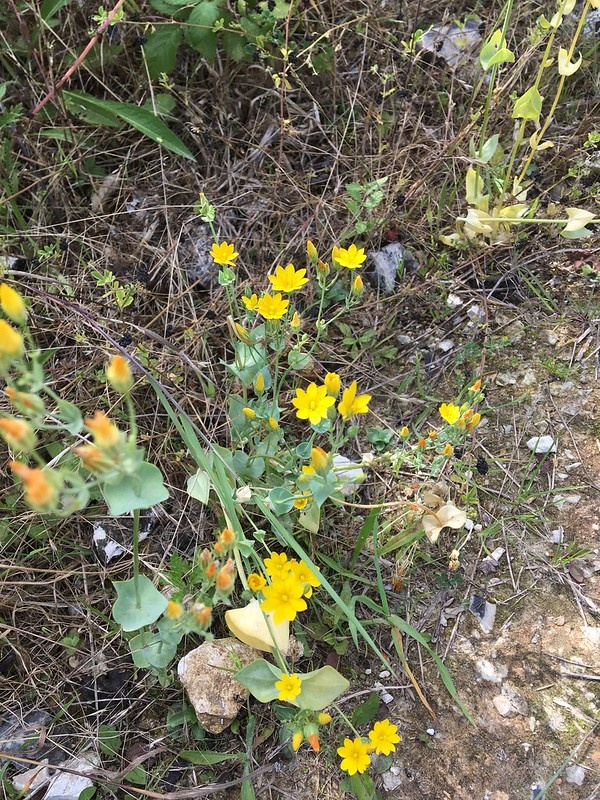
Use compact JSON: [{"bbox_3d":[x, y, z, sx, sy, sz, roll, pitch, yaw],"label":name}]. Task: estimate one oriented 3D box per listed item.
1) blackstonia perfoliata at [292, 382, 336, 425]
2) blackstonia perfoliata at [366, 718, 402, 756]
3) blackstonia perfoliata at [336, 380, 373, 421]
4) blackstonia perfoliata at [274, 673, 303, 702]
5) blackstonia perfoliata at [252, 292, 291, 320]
[{"bbox_3d":[0.041,0.011,2.085,0.121,0.068,0.134,-37,73,13],"label":"blackstonia perfoliata"},{"bbox_3d":[0.262,1.049,2.089,0.106,0.116,0.122,-7,73,-1],"label":"blackstonia perfoliata"},{"bbox_3d":[0.171,0.003,2.048,0.119,0.064,0.124,-6,88,0],"label":"blackstonia perfoliata"},{"bbox_3d":[-0.035,0.806,1.896,0.067,0.042,0.071,19,74,6],"label":"blackstonia perfoliata"},{"bbox_3d":[-0.093,-0.294,2.199,0.106,0.051,0.093,-42,85,-7],"label":"blackstonia perfoliata"}]
